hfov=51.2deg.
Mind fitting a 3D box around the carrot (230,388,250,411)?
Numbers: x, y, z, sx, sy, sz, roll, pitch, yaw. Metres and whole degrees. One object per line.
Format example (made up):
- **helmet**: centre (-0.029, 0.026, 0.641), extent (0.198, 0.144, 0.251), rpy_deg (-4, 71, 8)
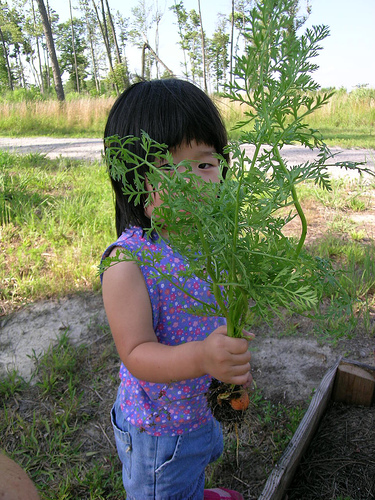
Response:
- **carrot**: centre (0.138, 0.387, 1.014), extent (0.045, 0.055, 0.032), rpy_deg (15, -22, -34)
